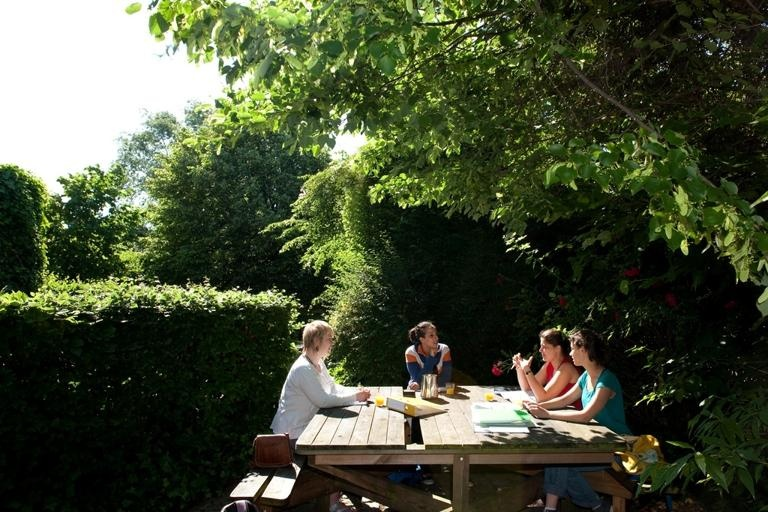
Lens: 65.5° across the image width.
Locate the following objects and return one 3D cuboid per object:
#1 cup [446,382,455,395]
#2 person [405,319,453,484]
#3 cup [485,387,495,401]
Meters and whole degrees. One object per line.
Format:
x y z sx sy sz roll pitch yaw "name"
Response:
0.726 1.457 6.474 0.084 0.098 0.105 4 -7 -20 "cup"
0.557 1.698 7.573 0.534 1.711 0.510 -11 25 -20 "person"
1.094 1.456 6.205 0.090 0.074 0.097 -1 -5 0 "cup"
